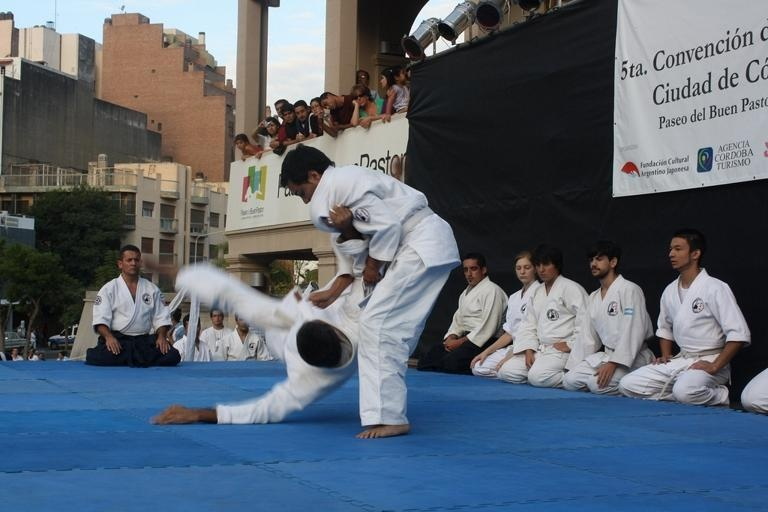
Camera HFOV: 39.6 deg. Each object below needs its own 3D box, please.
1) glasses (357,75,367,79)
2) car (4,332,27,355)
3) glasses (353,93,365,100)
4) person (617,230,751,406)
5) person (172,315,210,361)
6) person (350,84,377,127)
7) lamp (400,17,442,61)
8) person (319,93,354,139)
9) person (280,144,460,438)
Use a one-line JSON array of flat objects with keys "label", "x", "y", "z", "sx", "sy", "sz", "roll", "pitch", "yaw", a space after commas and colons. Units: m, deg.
[{"label": "glasses", "x": -0.341, "y": -2.930, "z": 17.557, "sx": 0.101, "sy": 0.080, "sz": 0.077, "roll": 31, "pitch": 13, "yaw": 30}, {"label": "car", "x": -14.617, "y": 3.375, "z": 42.493, "sx": 0.980, "sy": 0.821, "sz": 1.676, "roll": 0, "pitch": -8, "yaw": -14}, {"label": "glasses", "x": -0.387, "y": -2.579, "z": 17.305, "sx": 0.109, "sy": 0.074, "sz": 0.141, "roll": -2, "pitch": 6, "yaw": -12}, {"label": "person", "x": 3.294, "y": 0.660, "z": 11.557, "sx": 1.258, "sy": 1.855, "sz": 0.494, "roll": -1, "pitch": -4, "yaw": 24}, {"label": "person", "x": -2.901, "y": 1.246, "z": 16.040, "sx": 0.560, "sy": 0.520, "sz": 0.851, "roll": -2, "pitch": 36, "yaw": -25}, {"label": "person", "x": -0.306, "y": -2.399, "z": 17.288, "sx": 0.418, "sy": 0.762, "sz": 0.763, "roll": 1, "pitch": -4, "yaw": -5}, {"label": "lamp", "x": 0.535, "y": -3.072, "z": 15.200, "sx": 0.463, "sy": 0.478, "sz": 0.860, "roll": 1, "pitch": -4, "yaw": -10}, {"label": "person", "x": -0.773, "y": -2.347, "z": 17.620, "sx": 0.407, "sy": 0.763, "sz": 0.868, "roll": 4, "pitch": -5, "yaw": -42}, {"label": "person", "x": -0.075, "y": 0.327, "z": 10.276, "sx": 1.580, "sy": 2.749, "sz": 0.503, "roll": 0, "pitch": -3, "yaw": 4}]
